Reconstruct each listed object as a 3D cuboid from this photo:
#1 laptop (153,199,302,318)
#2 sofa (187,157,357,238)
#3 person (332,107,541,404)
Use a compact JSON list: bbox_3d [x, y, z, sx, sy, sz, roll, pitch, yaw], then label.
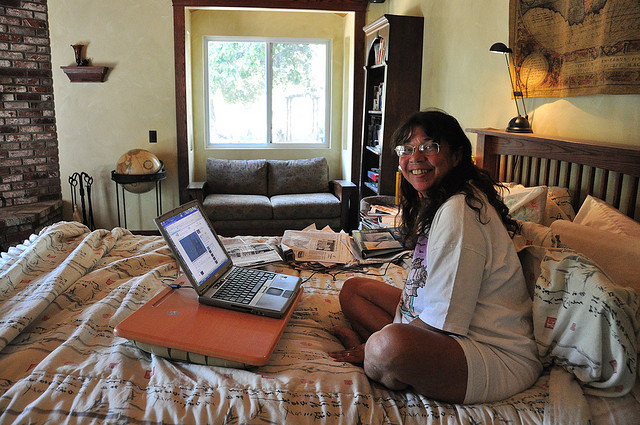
[{"bbox_3d":[-0.409,0.199,2.039,0.605,0.396,0.431,7,15,15],"label":"laptop"},{"bbox_3d":[-0.576,-0.175,5.170,1.922,0.951,0.791,-2,12,-12],"label":"sofa"},{"bbox_3d":[0.545,0.204,2.107,0.877,1.257,1.173,4,0,-9],"label":"person"}]
